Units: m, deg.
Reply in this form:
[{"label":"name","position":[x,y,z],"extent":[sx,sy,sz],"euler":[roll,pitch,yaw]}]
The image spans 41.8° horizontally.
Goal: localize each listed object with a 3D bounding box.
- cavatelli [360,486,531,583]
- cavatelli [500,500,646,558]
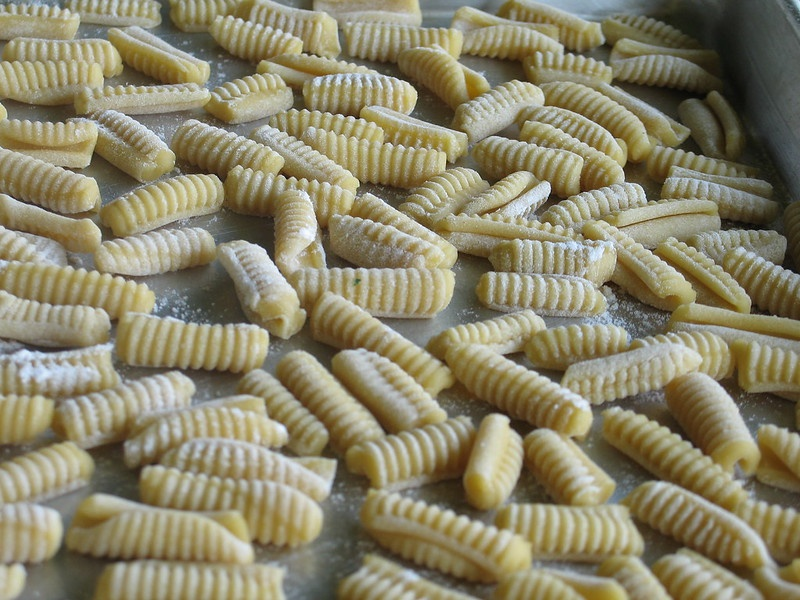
[{"label":"cavatelli","position":[0.072,0.469,2.084],"extent":[0.327,0.145,0.101],"euler":[18,12,10]},{"label":"cavatelli","position":[0.338,0.460,2.068],"extent":[0.212,0.078,0.140],"euler":[2,39,-3]}]
